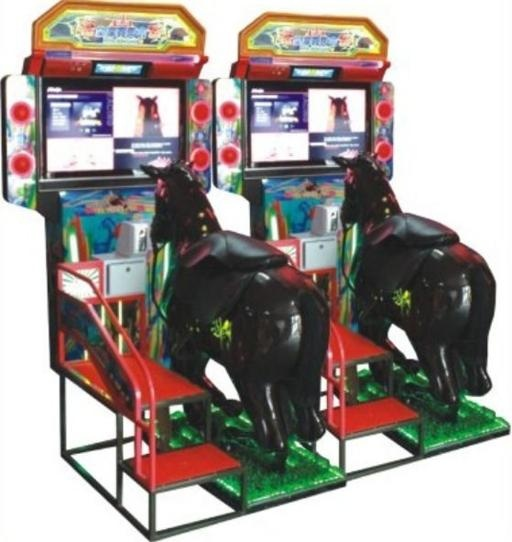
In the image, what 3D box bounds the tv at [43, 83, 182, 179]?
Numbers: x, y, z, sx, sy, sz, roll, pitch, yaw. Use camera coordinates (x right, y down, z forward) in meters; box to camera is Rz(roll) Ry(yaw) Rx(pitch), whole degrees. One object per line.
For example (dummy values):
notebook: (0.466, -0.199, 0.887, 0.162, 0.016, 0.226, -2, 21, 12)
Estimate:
tv: (-0.815, -0.829, 3.437, 0.795, 0.517, 0.012, 1, 4, 0)
